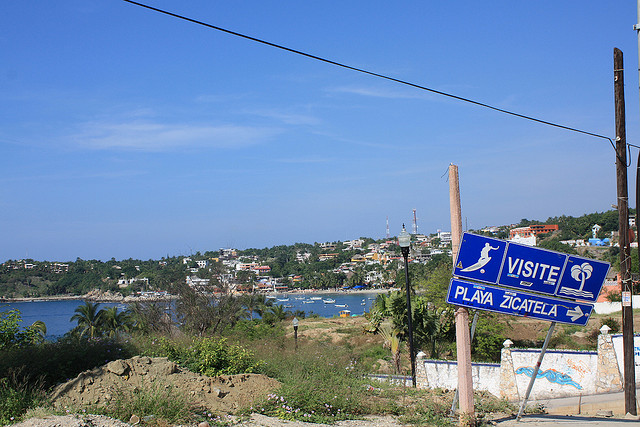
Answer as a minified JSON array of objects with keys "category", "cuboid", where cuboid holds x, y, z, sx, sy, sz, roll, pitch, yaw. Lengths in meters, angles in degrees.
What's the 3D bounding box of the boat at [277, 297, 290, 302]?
[{"category":"boat","cuboid":[-8.579,21.319,194.243,3.980,1.038,1.092,3,-2,16]}]
